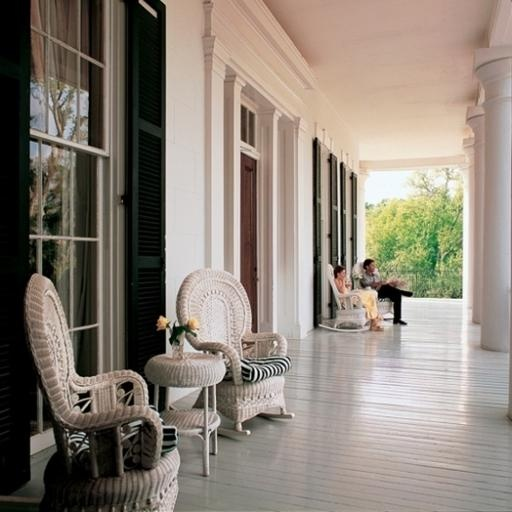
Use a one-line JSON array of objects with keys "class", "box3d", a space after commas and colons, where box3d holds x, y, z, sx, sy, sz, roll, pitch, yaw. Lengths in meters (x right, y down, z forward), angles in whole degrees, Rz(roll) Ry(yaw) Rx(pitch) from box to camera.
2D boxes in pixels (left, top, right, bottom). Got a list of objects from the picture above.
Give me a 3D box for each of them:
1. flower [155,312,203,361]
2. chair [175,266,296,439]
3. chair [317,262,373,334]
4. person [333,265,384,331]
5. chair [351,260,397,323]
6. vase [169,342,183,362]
[{"class": "flower", "box3d": [-0.448, 0.472, 2.594, 0.255, 0.274, 0.265, -3, -12, 12]}, {"class": "chair", "box3d": [-0.138, 0.650, 3.187, 0.680, 1.168, 0.633, 2, -8, -44]}, {"class": "chair", "box3d": [1.524, 0.652, 7.603, 0.781, 1.075, 0.843, -6, 10, -23]}, {"class": "person", "box3d": [1.685, 0.680, 7.446, 0.762, 1.163, 0.793, -6, 3, 21]}, {"class": "chair", "box3d": [2.261, 0.602, 8.170, 0.469, 1.261, 0.674, -11, 3, -41]}, {"class": "vase", "box3d": [-0.469, 0.551, 2.613, 0.077, 0.139, 0.079, 0, -4, 16]}]
